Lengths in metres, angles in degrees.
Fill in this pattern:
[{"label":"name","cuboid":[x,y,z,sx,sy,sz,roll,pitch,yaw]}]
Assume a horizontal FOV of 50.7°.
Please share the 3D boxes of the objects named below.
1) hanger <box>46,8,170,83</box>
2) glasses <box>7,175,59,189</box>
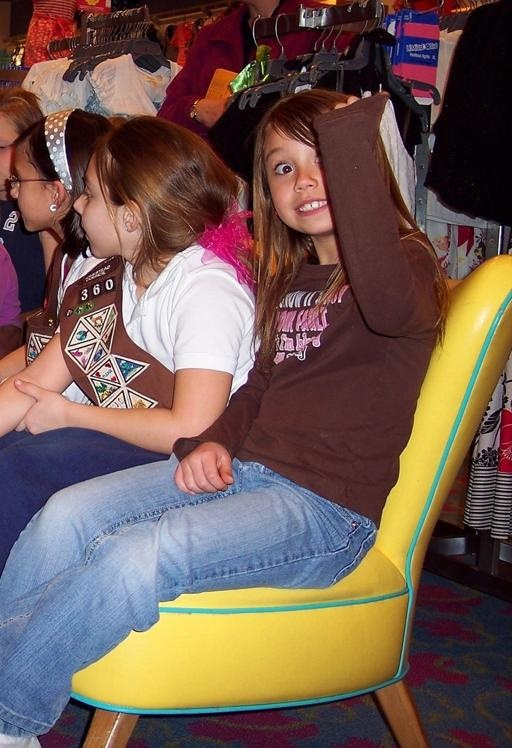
[{"label":"hanger","cuboid":[-0.566,-1.292,2.143,0.403,0.241,0.590,-9,27,-11]},{"label":"glasses","cuboid":[-0.513,-0.445,1.254,0.081,0.024,0.068,2,13,-8]}]
